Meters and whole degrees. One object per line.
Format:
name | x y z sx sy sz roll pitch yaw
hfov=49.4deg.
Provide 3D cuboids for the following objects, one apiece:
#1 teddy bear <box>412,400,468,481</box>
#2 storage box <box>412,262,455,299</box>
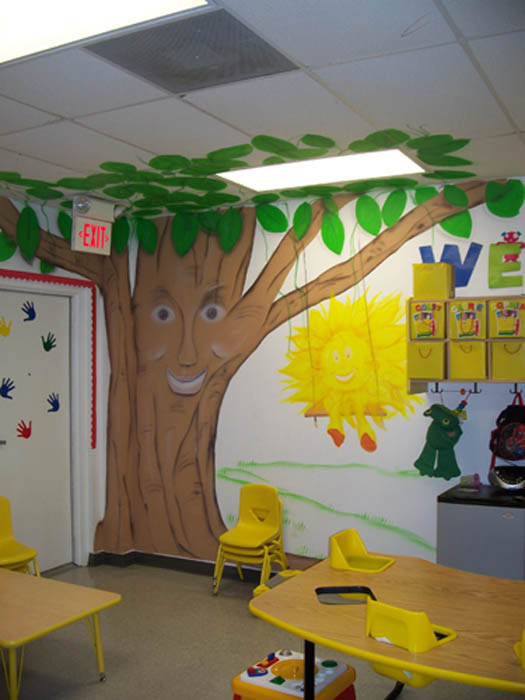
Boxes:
teddy bear | 1.140 0.577 3.675 0.336 0.516 0.152 -1 -5 18
storage box | 1.008 -0.394 3.417 0.226 0.216 0.232 1 1 28
